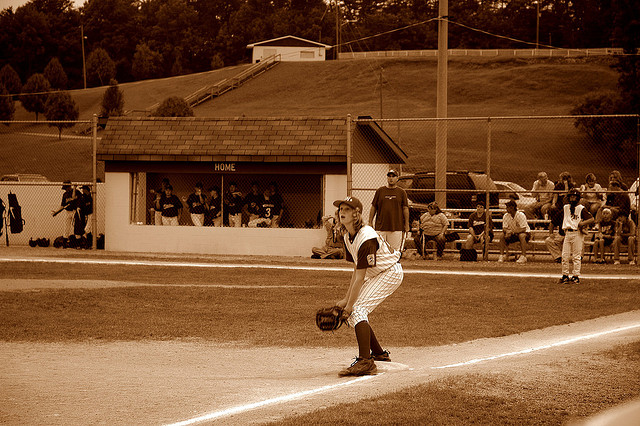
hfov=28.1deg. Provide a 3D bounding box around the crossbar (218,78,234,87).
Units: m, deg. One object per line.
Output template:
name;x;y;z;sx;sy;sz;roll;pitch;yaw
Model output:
crossbar;-8.813;-12.524;120.404;0.404;1.059;2.751;-2;-2;20

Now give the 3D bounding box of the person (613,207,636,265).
person;16.136;1.121;67.522;1.080;3.051;0.879;0;-2;-25

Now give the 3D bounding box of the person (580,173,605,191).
person;14.525;-1.705;68.335;0.968;0.838;1.323;-1;-2;10

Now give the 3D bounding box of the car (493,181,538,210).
car;11.365;-1.050;74.792;2.689;1.352;1.648;-1;4;14

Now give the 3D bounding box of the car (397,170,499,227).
car;7.165;-1.296;71.562;5.405;2.755;2.862;2;2;10

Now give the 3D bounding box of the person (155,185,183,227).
person;-8.395;-0.473;70.783;1.387;2.306;0.618;-1;-2;-2

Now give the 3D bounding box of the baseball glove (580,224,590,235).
baseball glove;13.404;0.741;64.353;0.285;0.482;0.701;-2;-3;33
